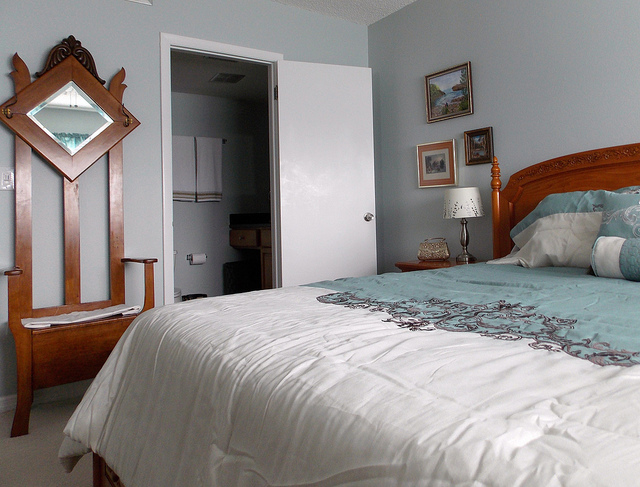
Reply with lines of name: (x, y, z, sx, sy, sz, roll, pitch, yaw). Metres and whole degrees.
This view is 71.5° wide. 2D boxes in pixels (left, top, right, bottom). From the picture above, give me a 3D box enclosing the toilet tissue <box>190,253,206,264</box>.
toilet tissue: (-1.299, 0.168, 4.710, 0.133, 0.104, 0.096, 1, -1, -40)
